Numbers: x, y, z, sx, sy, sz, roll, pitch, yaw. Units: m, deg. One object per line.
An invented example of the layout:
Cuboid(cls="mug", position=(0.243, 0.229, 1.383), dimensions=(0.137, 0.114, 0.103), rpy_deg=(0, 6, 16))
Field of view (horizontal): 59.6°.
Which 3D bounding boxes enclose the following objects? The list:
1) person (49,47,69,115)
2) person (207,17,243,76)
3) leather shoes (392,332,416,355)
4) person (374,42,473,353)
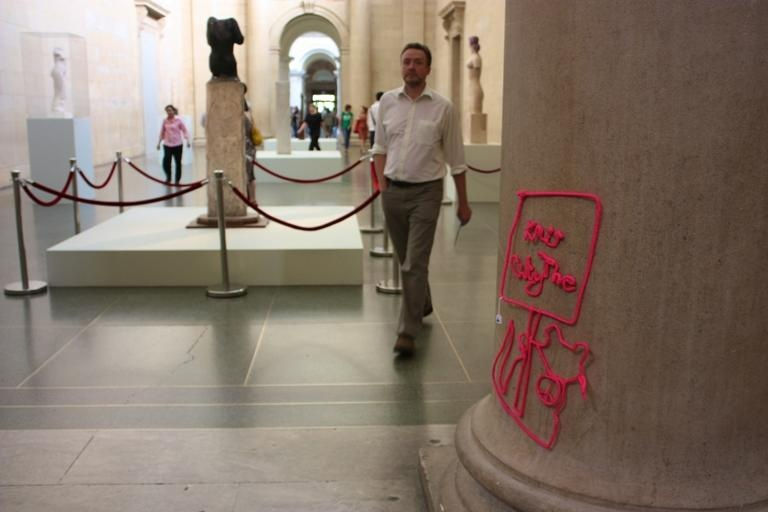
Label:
Cuboid(cls="person", position=(-6.119, -3.292, 12.647), dimensions=(0.333, 1.261, 1.074), rpy_deg=(-5, 14, -24))
Cuboid(cls="person", position=(-1.892, -2.506, 8.067), dimensions=(0.402, 0.744, 0.672), rpy_deg=(-3, 13, -14))
Cuboid(cls="leather shoes", position=(0.154, 0.638, 4.787), dimensions=(0.104, 0.182, 0.177), rpy_deg=(-2, 41, 11))
Cuboid(cls="person", position=(0.260, -0.374, 4.764), dimensions=(0.702, 2.157, 0.497), rpy_deg=(1, 13, 3))
